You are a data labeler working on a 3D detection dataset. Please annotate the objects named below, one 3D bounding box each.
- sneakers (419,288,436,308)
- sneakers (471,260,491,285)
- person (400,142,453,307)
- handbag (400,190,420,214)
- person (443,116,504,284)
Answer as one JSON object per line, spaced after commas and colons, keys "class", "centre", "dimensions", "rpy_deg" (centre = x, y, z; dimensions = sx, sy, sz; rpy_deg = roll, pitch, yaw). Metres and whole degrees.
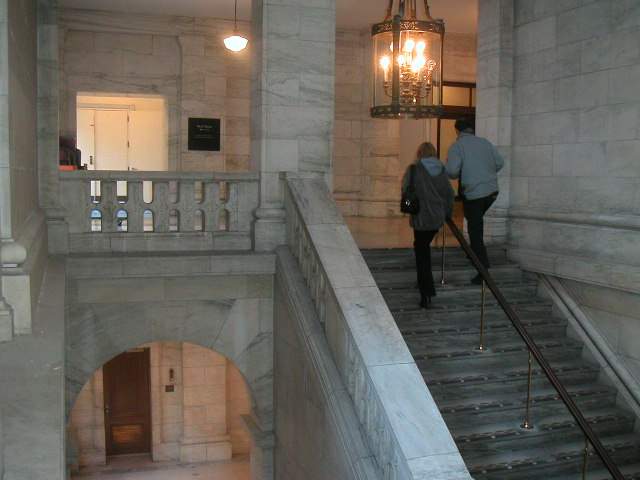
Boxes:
{"class": "sneakers", "centre": [1.200, 0.653, 6.843], "dimensions": [0.110, 0.209, 0.300], "rpy_deg": [0, 20, -3]}
{"class": "sneakers", "centre": [1.784, 0.362, 6.717], "dimensions": [0.168, 0.371, 0.290], "rpy_deg": [6, 30, 9]}
{"class": "person", "centre": [1.210, -0.081, 6.789], "dimensions": [0.571, 1.680, 0.410], "rpy_deg": [-2, 9, 12]}
{"class": "handbag", "centre": [1.010, -0.430, 6.732], "dimensions": [0.240, 0.268, 0.133], "rpy_deg": [-2, -2, 27]}
{"class": "person", "centre": [1.857, -0.566, 7.231], "dimensions": [0.644, 1.772, 0.534], "rpy_deg": [-1, 9, 17]}
